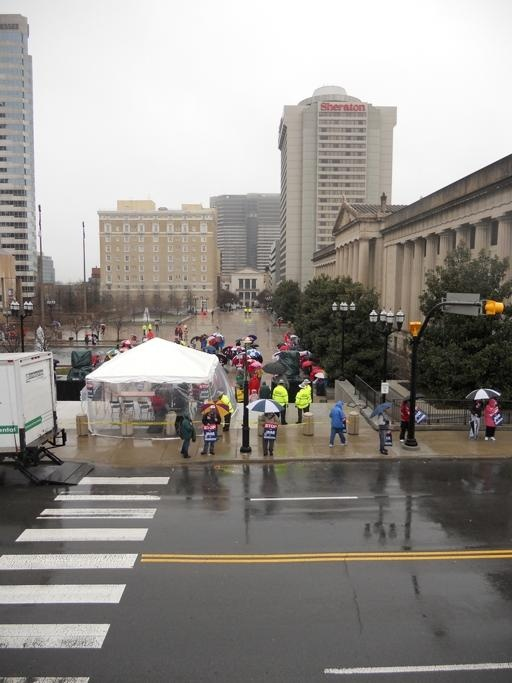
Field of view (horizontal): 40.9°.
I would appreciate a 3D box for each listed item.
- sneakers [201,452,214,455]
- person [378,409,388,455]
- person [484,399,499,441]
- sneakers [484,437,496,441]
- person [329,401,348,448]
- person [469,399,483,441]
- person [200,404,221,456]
[{"bbox_3d":[-1.306,3.008,18.474,0.323,0.141,0.125,3,-9,2],"label":"sneakers"},{"bbox_3d":[3.484,2.545,18.850,0.272,0.988,0.746,1,5,10],"label":"person"},{"bbox_3d":[7.067,2.277,20.600,0.432,1.317,1.421,2,5,19],"label":"person"},{"bbox_3d":[6.964,2.891,20.472,0.163,0.070,0.055,14,-35,9],"label":"sneakers"},{"bbox_3d":[2.333,2.279,19.662,0.484,1.466,1.793,1,5,6],"label":"person"},{"bbox_3d":[6.715,2.290,21.040,0.311,1.156,1.547,2,5,19],"label":"person"},{"bbox_3d":[-1.265,2.339,18.854,0.481,1.383,1.519,0,5,-5],"label":"person"}]
